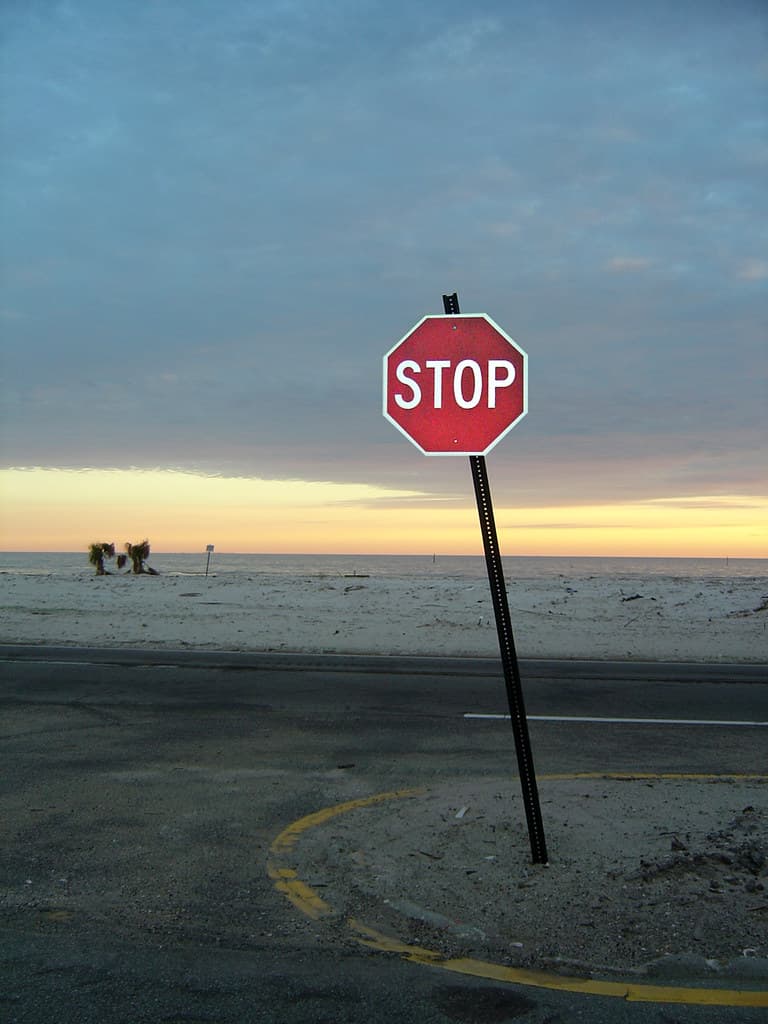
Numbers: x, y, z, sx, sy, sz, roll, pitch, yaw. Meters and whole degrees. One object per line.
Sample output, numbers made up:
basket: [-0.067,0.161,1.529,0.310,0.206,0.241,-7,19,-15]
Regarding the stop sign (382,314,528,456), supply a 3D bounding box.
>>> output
stop sign: [0.530,-0.930,8.579,1.191,0.991,0.118,4,8,33]
